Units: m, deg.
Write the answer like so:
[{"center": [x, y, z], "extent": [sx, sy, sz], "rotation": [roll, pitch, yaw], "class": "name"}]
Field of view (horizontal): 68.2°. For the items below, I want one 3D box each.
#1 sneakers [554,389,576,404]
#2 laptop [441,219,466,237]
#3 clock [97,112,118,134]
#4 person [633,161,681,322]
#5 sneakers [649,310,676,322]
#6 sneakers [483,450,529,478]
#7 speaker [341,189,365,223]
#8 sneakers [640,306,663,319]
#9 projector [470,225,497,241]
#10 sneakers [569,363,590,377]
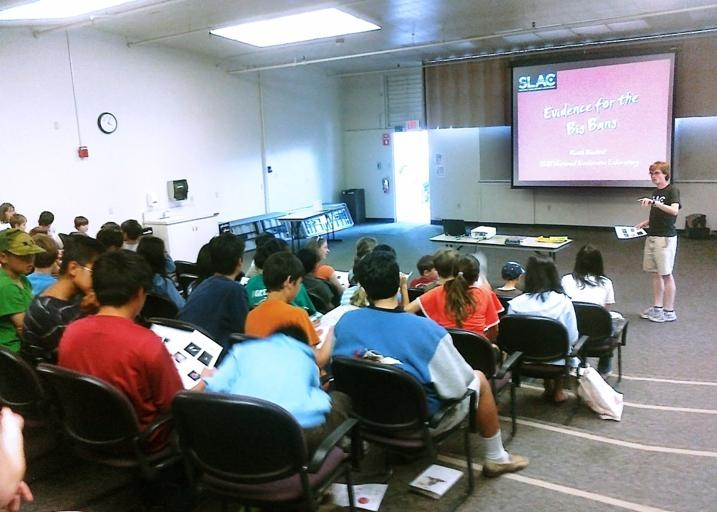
[{"center": [1.675, 1.148, 4.314], "extent": [0.194, 0.138, 0.064], "rotation": [-11, 13, -37], "class": "sneakers"}, {"center": [1.467, -0.413, 7.997], "extent": [0.373, 0.270, 0.266], "rotation": [4, 9, 22], "class": "laptop"}, {"center": [-4.143, -2.202, 8.725], "extent": [0.077, 0.385, 0.394], "rotation": [0, 3, 27], "class": "clock"}, {"center": [3.520, -0.196, 6.170], "extent": [0.517, 1.765, 0.881], "rotation": [7, 16, 27], "class": "person"}, {"center": [3.478, 0.692, 6.060], "extent": [0.302, 0.132, 0.133], "rotation": [2, 9, 27], "class": "sneakers"}, {"center": [0.941, 1.341, 3.450], "extent": [0.316, 0.144, 0.124], "rotation": [-7, 8, -21], "class": "sneakers"}, {"center": [-0.097, -1.357, 14.223], "extent": [0.686, 0.967, 0.698], "rotation": [-2, 3, 20], "class": "speaker"}, {"center": [3.400, 0.661, 6.138], "extent": [0.223, 0.105, 0.105], "rotation": [-2, 0, 45], "class": "sneakers"}, {"center": [1.832, -0.345, 7.714], "extent": [0.212, 0.107, 0.295], "rotation": [5, 14, 28], "class": "projector"}, {"center": [1.690, 0.870, 4.053], "extent": [0.094, 0.057, 0.160], "rotation": [4, 10, 41], "class": "sneakers"}]
